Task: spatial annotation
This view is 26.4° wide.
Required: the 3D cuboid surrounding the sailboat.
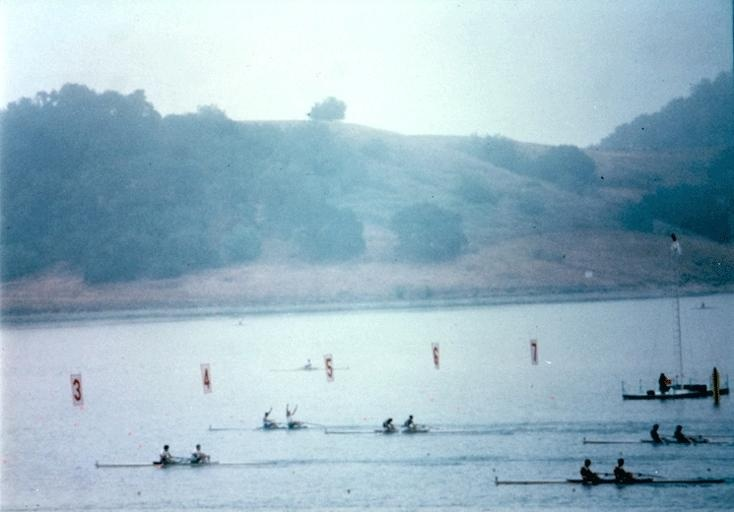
[{"bbox_3d":[21.693,7.803,108.517,4.430,16.647,1.882,-9,2,8],"label":"sailboat"}]
